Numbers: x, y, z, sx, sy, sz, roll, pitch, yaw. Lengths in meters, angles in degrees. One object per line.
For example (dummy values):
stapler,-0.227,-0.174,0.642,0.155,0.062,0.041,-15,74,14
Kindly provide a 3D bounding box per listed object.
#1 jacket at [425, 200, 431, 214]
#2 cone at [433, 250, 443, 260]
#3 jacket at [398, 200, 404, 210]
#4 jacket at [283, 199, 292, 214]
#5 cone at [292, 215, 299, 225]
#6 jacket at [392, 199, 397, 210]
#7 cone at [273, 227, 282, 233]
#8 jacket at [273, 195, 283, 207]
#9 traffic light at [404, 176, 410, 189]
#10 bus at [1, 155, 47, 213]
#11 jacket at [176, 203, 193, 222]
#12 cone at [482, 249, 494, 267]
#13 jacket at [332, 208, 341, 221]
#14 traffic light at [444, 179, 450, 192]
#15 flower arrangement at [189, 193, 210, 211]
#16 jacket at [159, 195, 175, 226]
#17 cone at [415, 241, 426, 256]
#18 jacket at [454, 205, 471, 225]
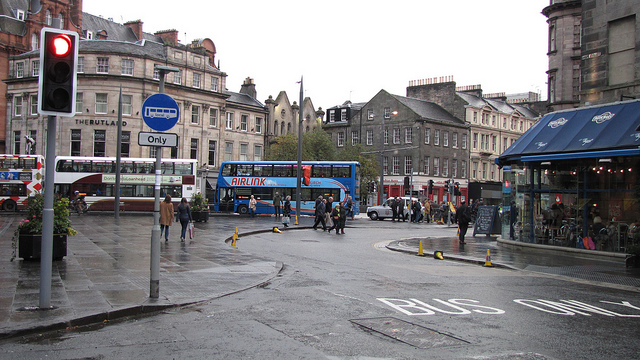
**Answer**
jacket,10.343,2.649,58.172,0.452,1.120,1.035,2,8,9
cone,5.884,3.682,29.955,0.456,0.427,0.310,1,4,23
jacket,7.714,2.343,57.302,0.333,0.890,0.644,6,9,32
jacket,-2.404,1.938,44.214,0.370,1.051,0.998,0,8,-3
cone,-1.769,3.143,46.174,0.456,0.593,0.446,3,-4,-8
jacket,7.075,2.318,57.038,0.427,0.858,0.528,2,8,6
cone,-2.802,3.270,39.759,0.509,0.349,0.554,-1,8,-15
jacket,-3.567,1.734,50.663,0.502,1.070,0.980,-1,8,-9
traffic light,7.196,0.145,50.033,0.229,0.991,1.425,3,8,14
bus,-24.210,0.219,48.874,5.332,4.584,1.835,0,-2,-1
jacket,-7.445,1.752,33.034,0.739,0.898,1.077,-1,8,-13
cone,7.845,3.710,28.402,0.667,0.753,0.629,-1,5,3
jacket,1.060,2.256,39.879,0.509,0.832,0.398,3,8,13
traffic light,13.571,0.556,64.384,0.458,1.721,0.521,10,-4,-42
flower arrangement,-8.958,1.652,44.287,1.583,1.445,1.145,3,-5,-29
jacket,-8.200,1.622,32.257,0.664,1.669,0.741,-2,8,-16
cone,5.242,3.494,30.928,0.642,0.695,0.646,-2,0,28
jacket,8.605,2.005,36.658,0.630,1.210,1.592,1,8,5
